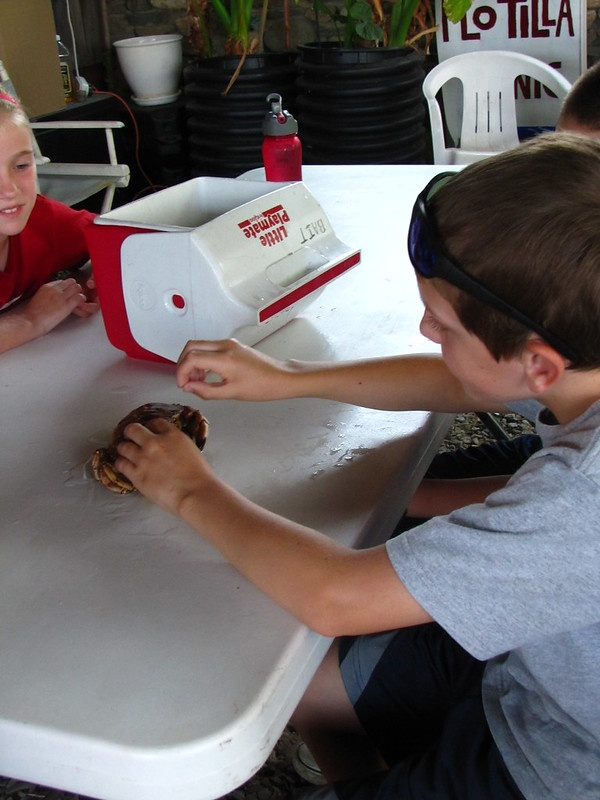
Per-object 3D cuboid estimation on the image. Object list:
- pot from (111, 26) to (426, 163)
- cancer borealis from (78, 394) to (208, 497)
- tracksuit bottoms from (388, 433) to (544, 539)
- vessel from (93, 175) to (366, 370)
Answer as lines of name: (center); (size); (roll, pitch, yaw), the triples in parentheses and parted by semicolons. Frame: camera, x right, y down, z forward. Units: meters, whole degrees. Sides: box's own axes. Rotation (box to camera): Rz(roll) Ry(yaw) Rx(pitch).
pot: (-0.080, -1.320, 3.399); (1.249, 0.507, 0.849); (-2, 21, 3)
cancer borealis: (-0.159, 0.049, 0.790); (0.112, 0.032, 0.103); (-21, 32, -14)
tracksuit bottoms: (0.287, 0.121, 1.203); (0.272, 0.068, 0.197); (-19, 12, 0)
vessel: (-0.153, -0.159, 1.118); (0.366, 0.223, 0.342); (23, 41, 23)
